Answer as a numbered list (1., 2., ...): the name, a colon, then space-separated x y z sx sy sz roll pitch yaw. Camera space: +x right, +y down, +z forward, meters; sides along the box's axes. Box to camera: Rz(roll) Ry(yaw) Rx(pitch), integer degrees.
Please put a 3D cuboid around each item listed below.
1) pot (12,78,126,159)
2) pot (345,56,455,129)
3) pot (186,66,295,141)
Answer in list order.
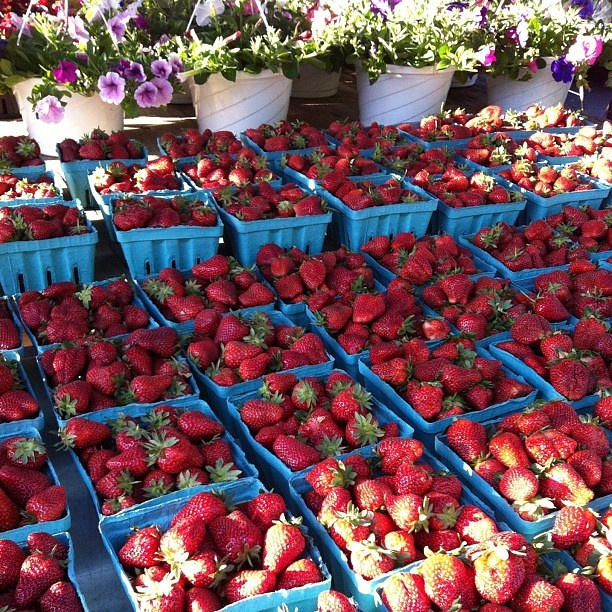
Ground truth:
1. pot: -2.030 -1.486 4.498 0.975 0.512 0.909 0 14 0
2. pot: 0.901 -2.078 5.252 1.024 0.593 0.872 4 28 -5
3. pot: -0.582 -1.856 4.674 0.832 0.490 0.734 -2 27 -6
